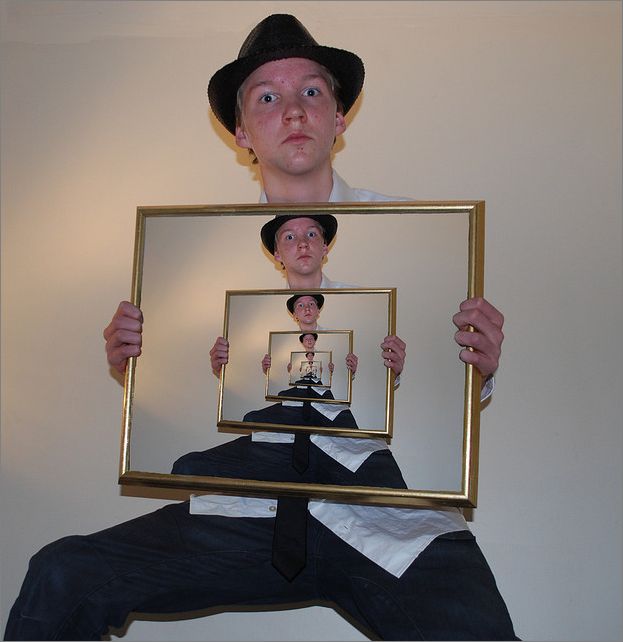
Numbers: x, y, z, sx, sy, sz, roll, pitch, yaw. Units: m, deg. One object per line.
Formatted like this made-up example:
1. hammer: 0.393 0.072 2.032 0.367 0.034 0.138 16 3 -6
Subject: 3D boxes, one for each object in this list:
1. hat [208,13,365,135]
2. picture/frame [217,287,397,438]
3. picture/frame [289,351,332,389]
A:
1. hat: -0.092 -0.782 2.789 0.447 0.144 0.427 -5 -12 -4
2. picture/frame: 0.006 0.125 2.365 0.595 0.357 0.034 -1 0 4
3. picture/frame: -0.002 0.136 2.373 0.147 0.092 0.013 0 2 11
